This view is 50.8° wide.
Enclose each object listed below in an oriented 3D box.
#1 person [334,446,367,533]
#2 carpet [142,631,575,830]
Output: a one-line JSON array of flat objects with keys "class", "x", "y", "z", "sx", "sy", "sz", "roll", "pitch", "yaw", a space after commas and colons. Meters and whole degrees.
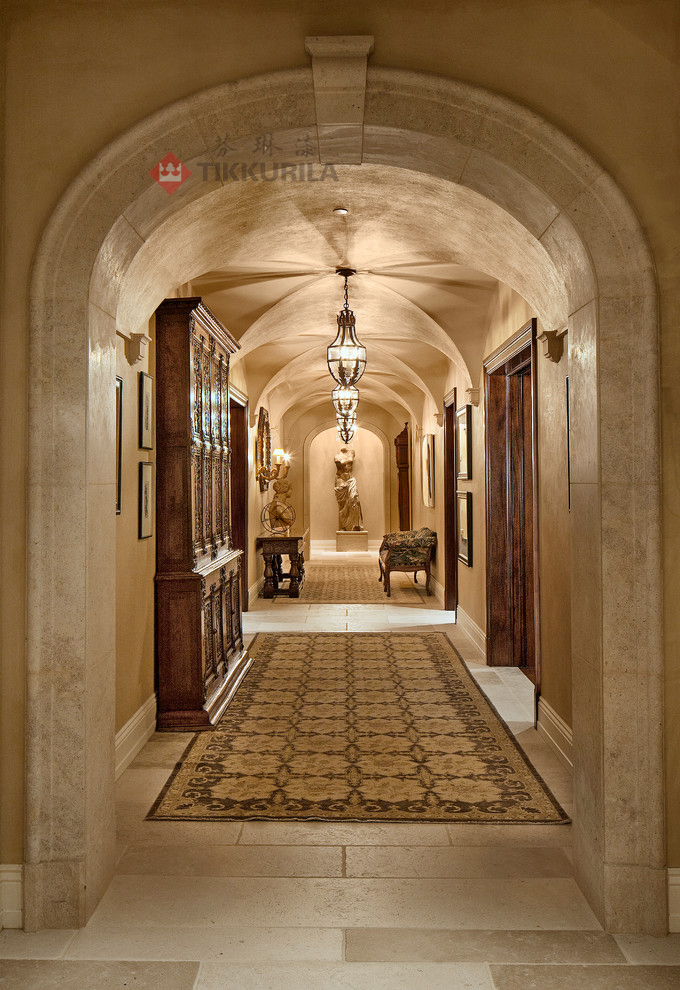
[{"class": "person", "x": 0.203, "y": -0.121, "z": 18.128, "sx": 0.682, "sy": 2.133, "sz": 1.210, "roll": -1, "pitch": -2, "yaw": 22}, {"class": "carpet", "x": 0.094, "y": 1.480, "z": 4.510, "sx": 1.980, "sy": 0.075, "sz": 2.699, "roll": -1, "pitch": -2, "yaw": 2}]
